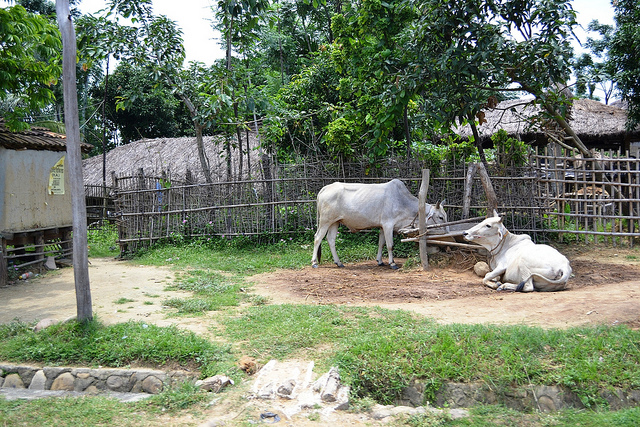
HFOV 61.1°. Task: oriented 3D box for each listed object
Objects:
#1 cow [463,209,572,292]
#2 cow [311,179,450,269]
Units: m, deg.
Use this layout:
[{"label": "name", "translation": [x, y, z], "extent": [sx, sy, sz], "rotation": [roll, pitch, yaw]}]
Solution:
[{"label": "cow", "translation": [3.807, 0.742, 10.381], "extent": [0.856, 1.371, 1.770], "rotation": [-12, 14, -42]}, {"label": "cow", "translation": [1.433, 0.284, 12.844], "extent": [3.243, 1.930, 0.859], "rotation": [1, 2, 1]}]
